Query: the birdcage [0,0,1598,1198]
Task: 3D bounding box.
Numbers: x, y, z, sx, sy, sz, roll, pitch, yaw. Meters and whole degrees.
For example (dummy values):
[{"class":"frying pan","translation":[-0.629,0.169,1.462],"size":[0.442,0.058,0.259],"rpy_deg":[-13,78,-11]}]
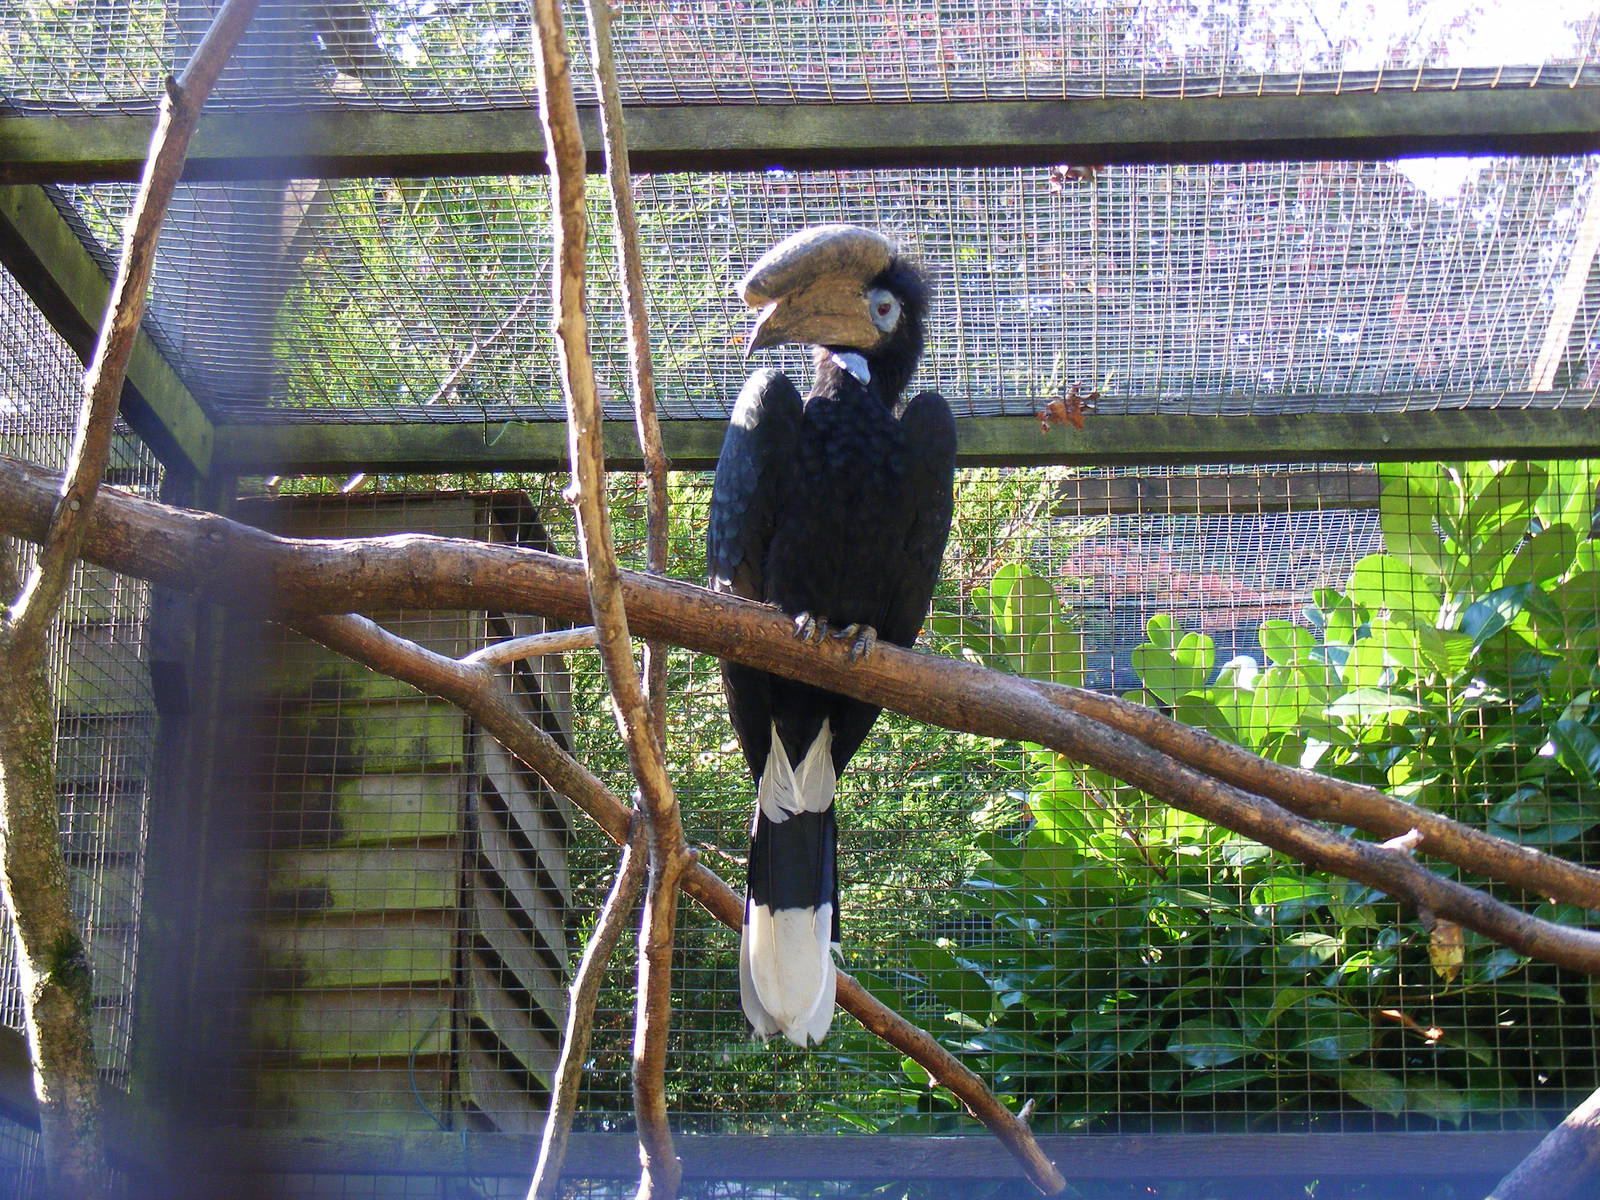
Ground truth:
[{"class":"birdcage","translation":[0.241,0.000,5.247],"size":[2.860,2.732,2.314],"rpy_deg":[13,23,27]}]
